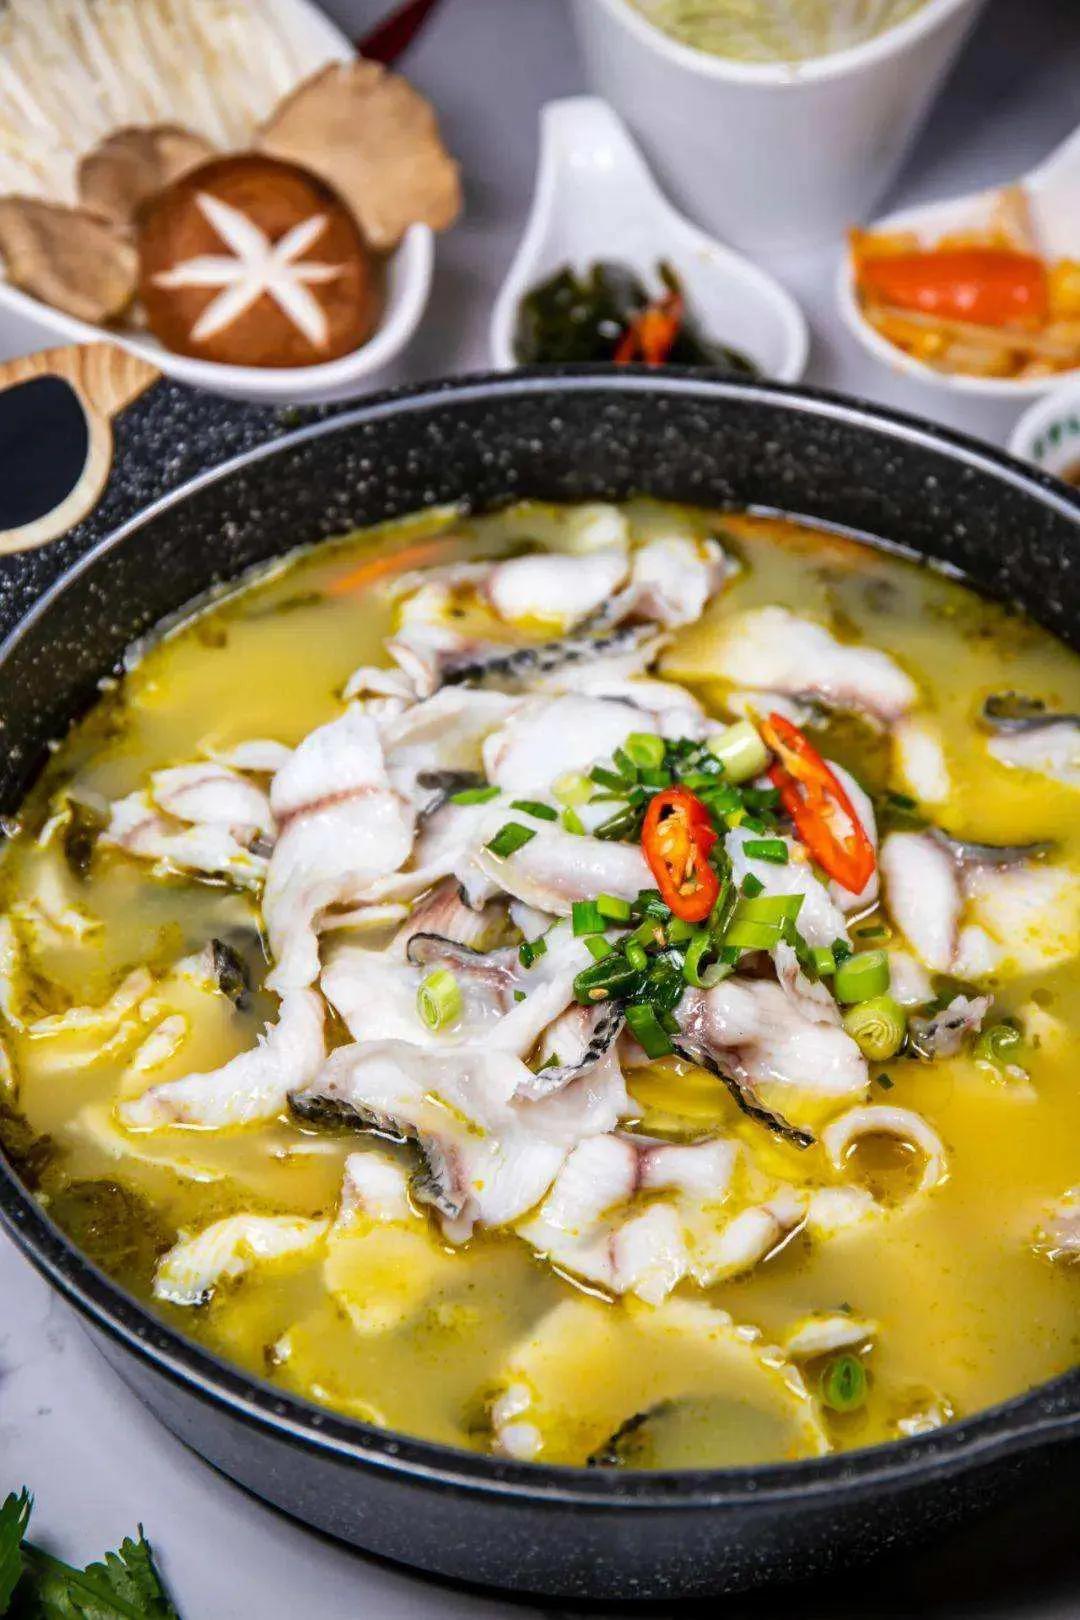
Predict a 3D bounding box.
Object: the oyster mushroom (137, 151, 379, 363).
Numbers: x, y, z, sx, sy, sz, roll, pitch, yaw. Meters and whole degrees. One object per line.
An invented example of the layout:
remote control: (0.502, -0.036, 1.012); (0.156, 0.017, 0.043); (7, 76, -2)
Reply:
oyster mushroom: (-0.704, -1.368, 3.863); (0.661, 0.483, 0.202); (-6, 23, -7)

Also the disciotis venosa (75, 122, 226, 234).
disciotis venosa: (-1.001, -1.619, 3.930); (0.353, 0.080, 0.321); (18, 75, -13)

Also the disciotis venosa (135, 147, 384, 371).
disciotis venosa: (-0.660, -1.286, 3.715); (0.608, 0.156, 0.522); (16, 78, -2)
